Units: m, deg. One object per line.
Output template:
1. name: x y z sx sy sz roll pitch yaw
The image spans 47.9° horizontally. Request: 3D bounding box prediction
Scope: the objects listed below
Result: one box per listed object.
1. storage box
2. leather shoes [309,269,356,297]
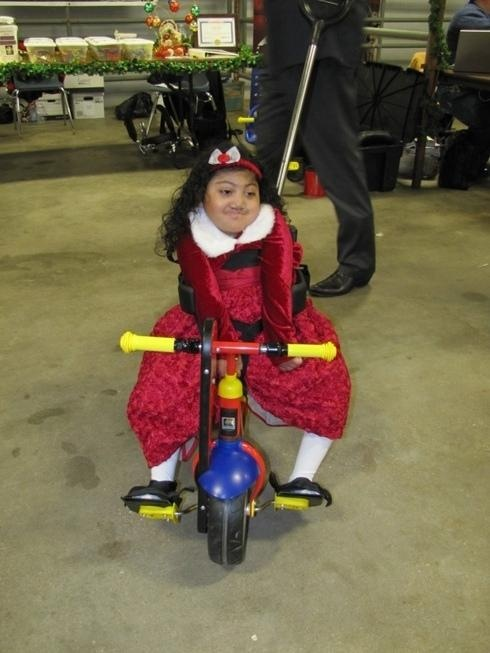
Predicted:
1. storage box: -1.215 -2.162 4.308 0.968 0.192 0.338 -4 24 -7
2. leather shoes: 0.401 -0.197 2.478 0.227 0.087 0.101 -11 12 -34
